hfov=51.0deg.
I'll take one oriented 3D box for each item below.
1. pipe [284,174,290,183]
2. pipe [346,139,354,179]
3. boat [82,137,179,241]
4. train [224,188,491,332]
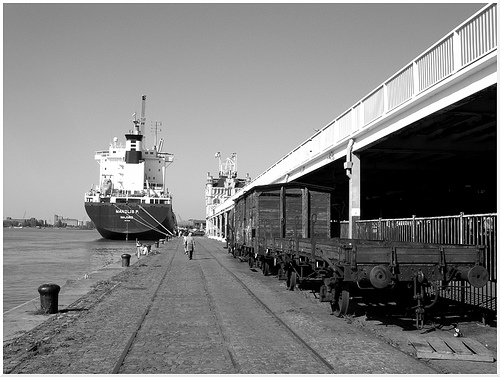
[{"bbox_3d":[2.023,-0.597,29.320,0.175,0.377,0.749,-3,-2,-14],"label":"pipe"},{"bbox_3d":[4.017,-1.190,20.971,0.277,1.536,0.732,-3,-1,5],"label":"pipe"},{"bbox_3d":[-19.528,1.579,82.599,8.868,16.295,32.775,1,-4,-8],"label":"boat"},{"bbox_3d":[2.403,1.981,17.184,2.790,3.184,10.151,2,-1,-18],"label":"train"}]
